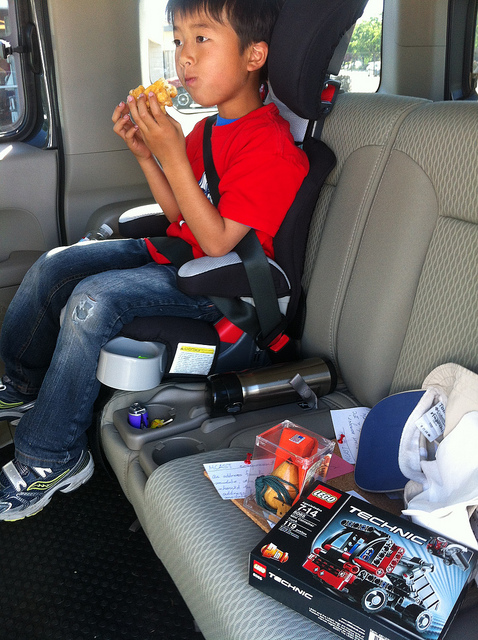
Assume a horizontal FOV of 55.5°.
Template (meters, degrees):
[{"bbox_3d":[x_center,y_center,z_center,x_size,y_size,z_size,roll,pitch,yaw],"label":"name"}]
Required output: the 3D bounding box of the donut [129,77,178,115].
[{"bbox_3d":[-0.166,-0.434,0.889,0.086,0.056,0.161,-6,32,-9],"label":"donut"}]

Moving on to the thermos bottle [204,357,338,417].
[{"bbox_3d":[0.070,0.144,0.965,0.291,0.092,0.063,-11,33,-16],"label":"thermos bottle"}]

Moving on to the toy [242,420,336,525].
[{"bbox_3d":[0.064,0.207,0.739,0.167,0.112,0.141,-17,26,-40],"label":"toy"}]
